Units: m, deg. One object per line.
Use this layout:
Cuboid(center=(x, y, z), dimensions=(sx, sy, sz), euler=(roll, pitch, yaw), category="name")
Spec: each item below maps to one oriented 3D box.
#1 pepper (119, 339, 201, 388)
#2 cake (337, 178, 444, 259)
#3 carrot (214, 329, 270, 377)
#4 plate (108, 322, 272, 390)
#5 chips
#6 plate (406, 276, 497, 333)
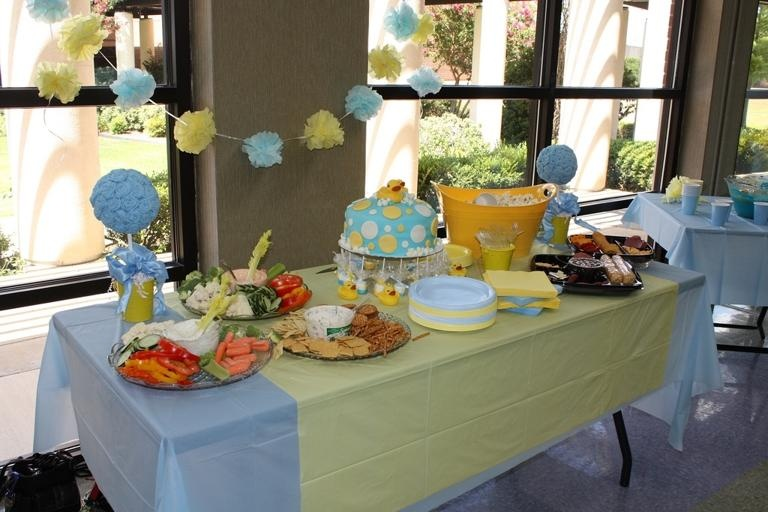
Cuboid(center=(-0.593, 0.274, 1.390), dimensions=(0.205, 0.098, 0.099), euler=(0, 15, 4), category="pepper")
Cuboid(center=(0.006, -0.113, 1.862), dimensions=(0.285, 0.182, 0.288), euler=(6, 19, 15), category="cake")
Cuboid(center=(-0.381, 0.262, 1.461), dimensions=(0.112, 0.045, 0.115), euler=(23, 33, 2), category="carrot")
Cuboid(center=(-0.512, 0.269, 1.426), dimensions=(0.339, 0.064, 0.249), euler=(-10, 21, -44), category="plate")
Cuboid(center=(-0.138, 0.214, 1.588), dimensions=(0.240, 0.093, 0.286), euler=(-12, 21, -43), category="chips")
Cuboid(center=(0.222, 0.141, 1.743), dimensions=(0.195, 0.067, 0.194), euler=(-10, 21, -27), category="plate")
